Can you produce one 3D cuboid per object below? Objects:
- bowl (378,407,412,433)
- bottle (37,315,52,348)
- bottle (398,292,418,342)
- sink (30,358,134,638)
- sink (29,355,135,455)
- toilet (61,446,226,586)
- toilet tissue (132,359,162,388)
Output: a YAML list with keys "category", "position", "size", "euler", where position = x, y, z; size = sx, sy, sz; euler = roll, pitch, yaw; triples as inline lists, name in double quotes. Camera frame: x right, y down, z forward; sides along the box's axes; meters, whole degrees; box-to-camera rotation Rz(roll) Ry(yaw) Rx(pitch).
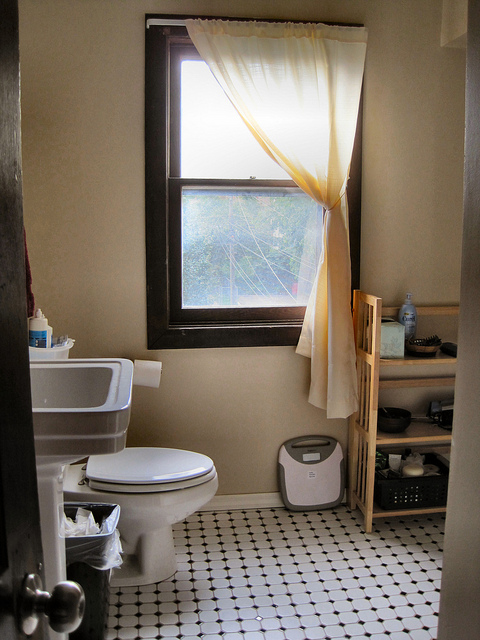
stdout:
- category: "bowl"
  position: [0.670, 0.434, 2.366]
  size: [0.131, 0.072, 0.213]
  euler: [2, 8, 18]
- category: "bottle"
  position: [-0.617, 0.041, 1.735]
  size: [0.033, 0.118, 0.174]
  euler: [-1, 7, -14]
- category: "bottle"
  position: [0.727, -0.013, 2.365]
  size: [0.082, 0.230, 0.096]
  euler: [4, 16, 23]
- category: "sink"
  position: [-0.335, 0.385, 1.233]
  size: [0.240, 0.525, 0.530]
  euler: [-2, 7, -22]
- category: "sink"
  position: [-0.300, 0.179, 1.031]
  size: [0.161, 0.093, 0.280]
  euler: [2, 16, -13]
- category: "toilet"
  position: [-0.309, 0.677, 2.019]
  size: [0.619, 0.612, 0.455]
  euler: [0, 9, -12]
- category: "toilet tissue"
  position: [-0.365, 0.209, 2.153]
  size: [0.106, 0.143, 0.089]
  euler: [3, -17, -1]
